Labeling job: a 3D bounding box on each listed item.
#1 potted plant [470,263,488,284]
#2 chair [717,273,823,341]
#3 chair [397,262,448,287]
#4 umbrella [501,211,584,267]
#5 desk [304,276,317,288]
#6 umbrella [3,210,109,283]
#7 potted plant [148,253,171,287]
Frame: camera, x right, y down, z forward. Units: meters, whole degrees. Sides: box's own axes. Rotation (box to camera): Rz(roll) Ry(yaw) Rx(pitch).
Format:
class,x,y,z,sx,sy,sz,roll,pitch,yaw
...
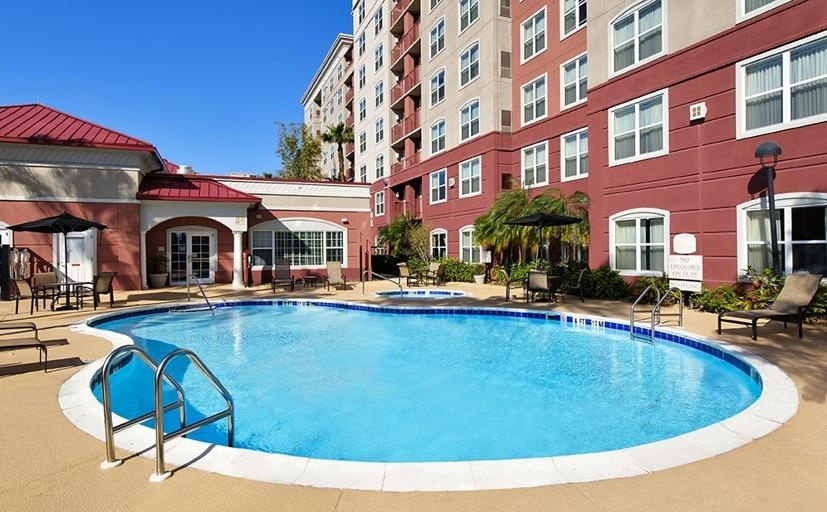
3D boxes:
class,x,y,z,sx,sy,sz,roll,pitch,yaw
potted plant,3.394,0.860,28.336,0.829,0.846,0.840,1,-1,-21
chair,10.373,1.521,16.806,2.857,1.957,1.762,-2,0,-12
chair,0.465,0.910,27.841,2.028,1.124,1.143,-3,2,-21
umbrella,5.087,-0.545,21.903,2.643,2.296,2.657,6,21,37
desk,-4.914,1.168,26.766,0.553,0.400,1.629,-3,-1,-12
umbrella,-12.927,-0.340,21.007,3.472,2.514,3.195,-3,-1,-24
potted plant,-12.208,0.589,27.081,0.836,1.423,0.833,8,12,35
